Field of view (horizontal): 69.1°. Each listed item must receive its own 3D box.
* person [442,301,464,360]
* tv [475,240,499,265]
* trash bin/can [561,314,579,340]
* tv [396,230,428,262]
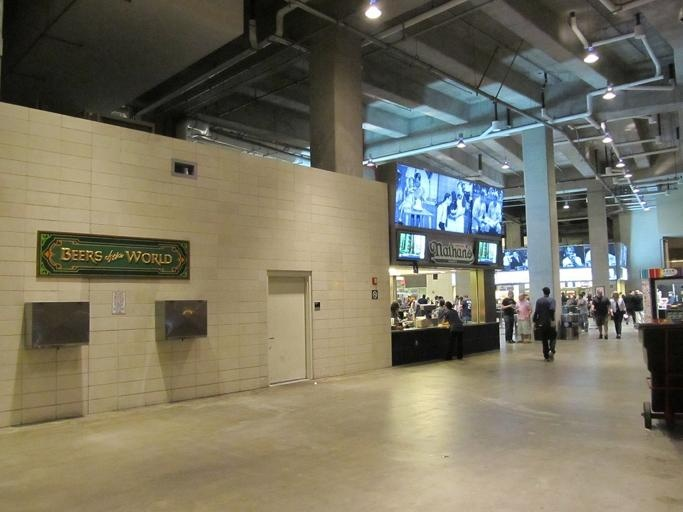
[{"bbox_3d":[2.941,1.957,13.000,0.462,1.473,0.745,-2,-6,13],"label":"person"},{"bbox_3d":[4.174,-0.098,14.393,0.670,0.570,0.353,4,-8,-43],"label":"tv"},{"bbox_3d":[8.184,2.506,17.599,0.714,1.190,0.824,-2,-4,21],"label":"trash bin/can"},{"bbox_3d":[1.746,-0.234,12.286,0.966,0.698,0.091,4,-7,-37],"label":"tv"}]
